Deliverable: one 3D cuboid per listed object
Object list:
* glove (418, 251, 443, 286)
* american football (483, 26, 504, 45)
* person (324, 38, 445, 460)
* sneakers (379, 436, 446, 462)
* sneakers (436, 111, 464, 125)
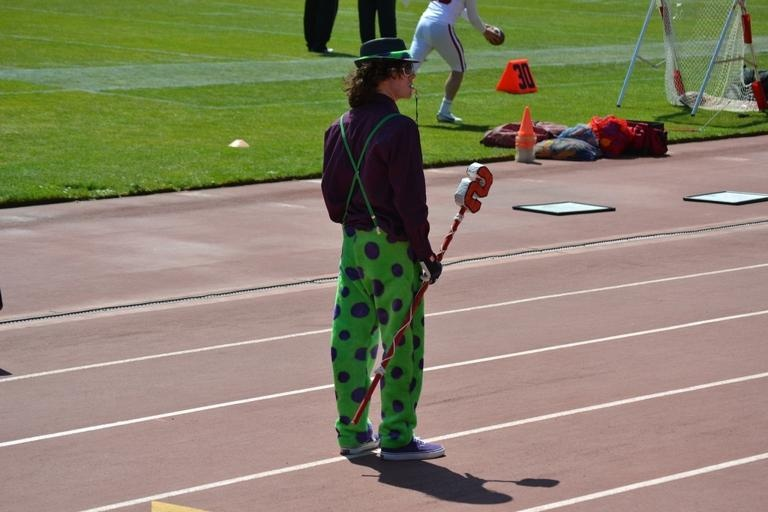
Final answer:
[{"bbox_3d":[0.354,0.073,8.511,0.198,0.204,0.097,-14,14,-9],"label":"glove"},{"bbox_3d":[2.151,-4.186,21.437,0.440,0.241,0.341,33,5,-9],"label":"american football"},{"bbox_3d":[0.008,-0.047,8.540,0.902,3.138,0.848,-1,16,-8],"label":"person"},{"bbox_3d":[0.229,1.468,8.685,0.512,0.152,0.177,-1,4,-8],"label":"sneakers"},{"bbox_3d":[1.243,-2.689,21.858,0.569,0.180,0.192,3,28,-5],"label":"sneakers"}]
